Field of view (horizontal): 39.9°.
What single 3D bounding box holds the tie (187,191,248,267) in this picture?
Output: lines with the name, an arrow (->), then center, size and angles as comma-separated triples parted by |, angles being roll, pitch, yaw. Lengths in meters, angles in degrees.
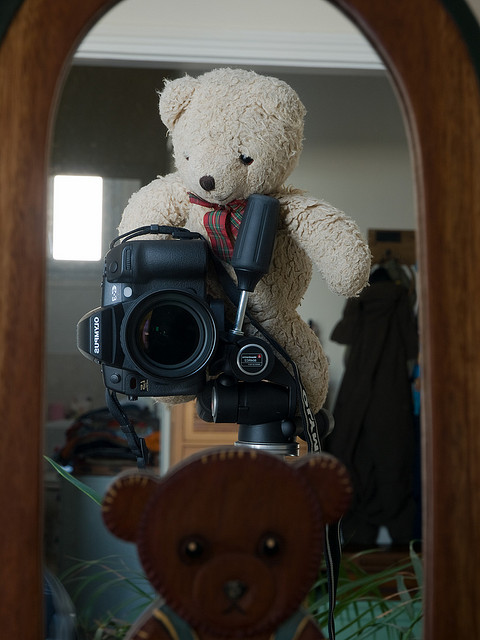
tie -> -0.016, -0.102, 0.730 | 0.044, 0.080, 0.130 | 0, 7, -26

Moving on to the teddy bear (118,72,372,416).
teddy bear -> 0.001, -0.086, 0.746 | 0.272, 0.394, 0.207 | 1, 6, -12

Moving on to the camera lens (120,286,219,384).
camera lens -> -0.068, 0.014, 0.641 | 0.092, 0.093, 0.036 | 2, 5, -9
